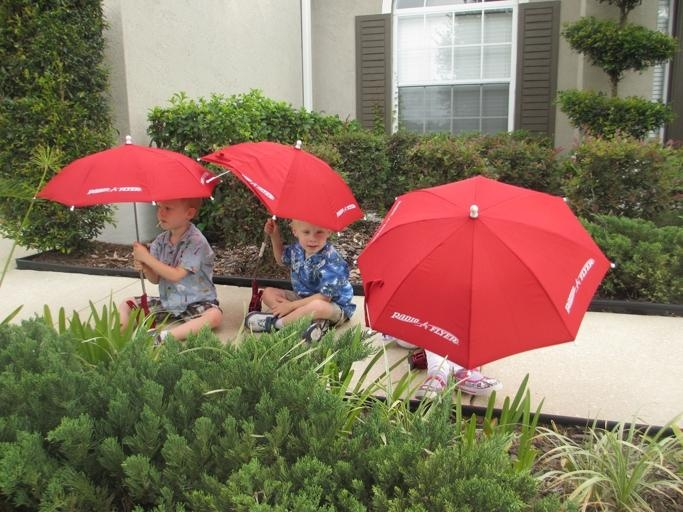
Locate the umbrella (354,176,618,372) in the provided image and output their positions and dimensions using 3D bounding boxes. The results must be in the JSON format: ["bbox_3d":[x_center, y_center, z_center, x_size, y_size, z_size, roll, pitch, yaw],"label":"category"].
[{"bbox_3d":[0.649,-0.041,2.895,1.183,0.543,1.312,1,44,16],"label":"umbrella"}]

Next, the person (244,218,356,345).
[{"bbox_3d":[-0.270,0.082,3.919,0.632,0.863,0.687,4,12,17],"label":"person"}]

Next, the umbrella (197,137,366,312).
[{"bbox_3d":[-0.403,-0.237,3.669,0.671,0.627,0.692,18,20,-25],"label":"umbrella"}]

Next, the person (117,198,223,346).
[{"bbox_3d":[-1.102,0.049,3.824,0.656,0.998,0.749,11,15,42],"label":"person"}]

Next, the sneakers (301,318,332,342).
[{"bbox_3d":[-0.137,0.473,3.766,0.088,0.133,0.277,-10,-7,20],"label":"sneakers"}]

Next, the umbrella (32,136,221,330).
[{"bbox_3d":[-1.230,-0.213,3.535,0.682,0.817,0.684,-3,25,-4],"label":"umbrella"}]
